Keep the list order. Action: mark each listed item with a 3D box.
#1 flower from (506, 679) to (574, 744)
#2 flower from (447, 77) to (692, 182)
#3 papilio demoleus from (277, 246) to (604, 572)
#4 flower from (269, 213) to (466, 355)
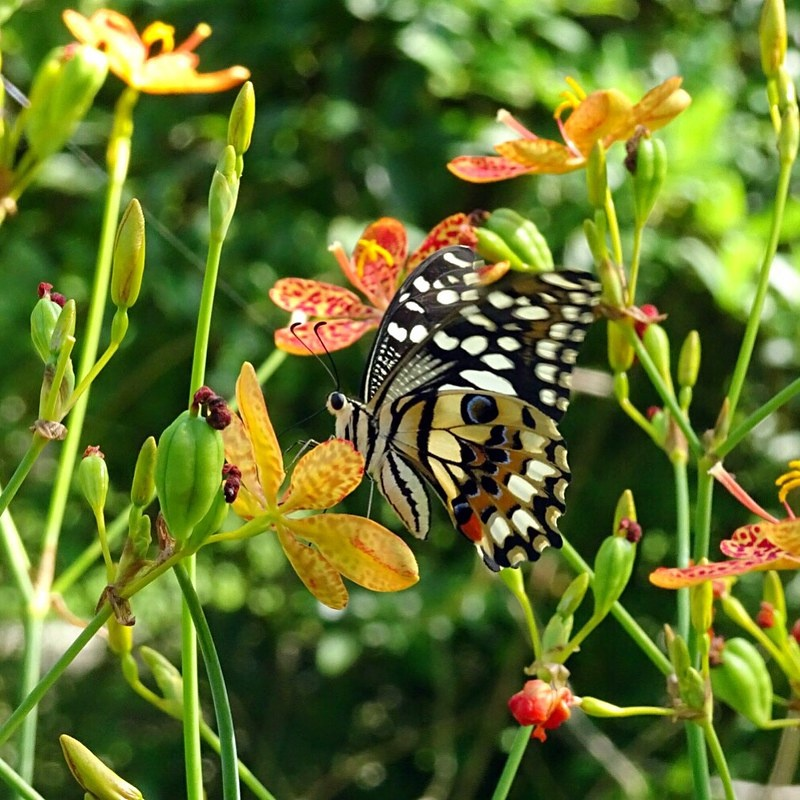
[{"bbox_3d":[0.123,0.253,0.859,0.060,0.050,0.034,4,95,-6],"label":"flower"},{"bbox_3d":[0.195,-0.275,1.049,0.205,0.197,0.058,-21,99,-26],"label":"flower"},{"bbox_3d":[0.075,-0.002,1.291,0.399,0.450,0.413,6,95,-3],"label":"papilio demoleus"},{"bbox_3d":[-0.060,-0.140,1.238,0.234,0.207,0.103,-6,67,-45],"label":"flower"}]
